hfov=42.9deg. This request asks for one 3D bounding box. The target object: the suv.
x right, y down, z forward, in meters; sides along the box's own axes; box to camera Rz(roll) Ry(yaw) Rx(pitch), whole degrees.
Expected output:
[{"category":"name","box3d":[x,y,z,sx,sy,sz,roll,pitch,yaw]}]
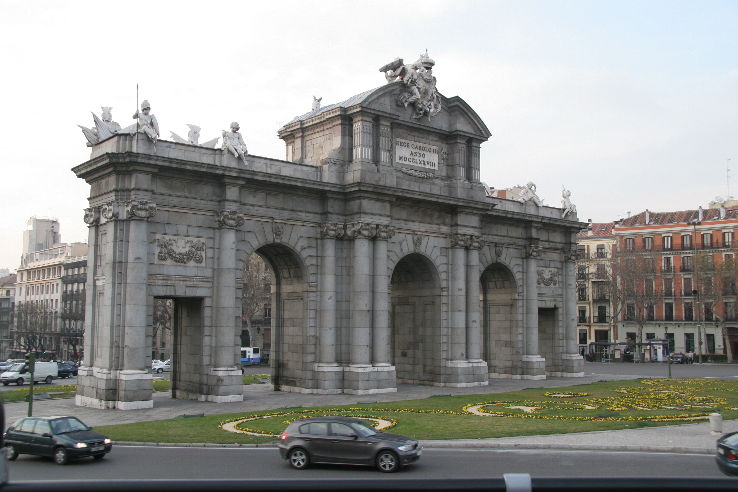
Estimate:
[{"category":"suv","box3d":[-1.028,10.628,50.455,7.020,2.095,2.975,-2,-8,6]}]

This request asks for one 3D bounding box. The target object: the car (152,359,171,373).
[{"category":"car","box3d":[-22.033,12.903,100.548,1.338,1.425,2.184,-5,-12,17]}]

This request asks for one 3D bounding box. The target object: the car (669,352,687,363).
[{"category":"car","box3d":[36.288,13.139,109.924,1.614,1.305,4.733,-7,-12,24]}]

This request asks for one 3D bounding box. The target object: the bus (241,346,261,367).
[{"category":"bus","box3d":[-13.623,12.752,108.720,1.385,2.389,2.599,-9,-14,33]}]
